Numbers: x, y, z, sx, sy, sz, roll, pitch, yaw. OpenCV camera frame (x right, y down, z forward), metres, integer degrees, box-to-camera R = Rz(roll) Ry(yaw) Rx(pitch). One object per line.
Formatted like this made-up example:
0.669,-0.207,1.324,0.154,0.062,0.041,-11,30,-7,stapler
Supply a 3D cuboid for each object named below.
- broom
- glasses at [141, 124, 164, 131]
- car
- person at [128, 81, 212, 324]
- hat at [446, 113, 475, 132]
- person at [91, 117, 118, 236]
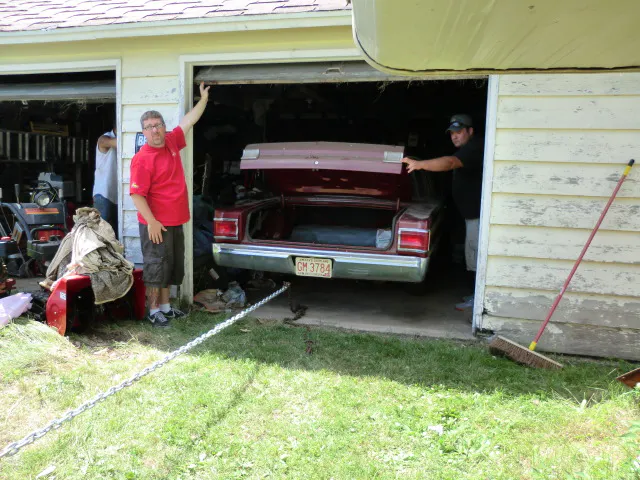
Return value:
2.103,0.202,4.724,0.599,1.815,1.051,14,18,42,broom
-1.559,-1.052,5.080,0.115,0.084,0.029,-4,8,-4,glasses
0.030,-0.393,5.995,1.839,0.933,2.554,3,13,13,car
-1.563,-0.226,5.474,0.434,2.106,0.759,5,14,12,person
1.579,-1.279,5.870,0.359,0.137,0.234,-4,6,-33,hat
-2.678,-0.708,6.716,0.300,1.254,0.488,-4,15,-20,person
